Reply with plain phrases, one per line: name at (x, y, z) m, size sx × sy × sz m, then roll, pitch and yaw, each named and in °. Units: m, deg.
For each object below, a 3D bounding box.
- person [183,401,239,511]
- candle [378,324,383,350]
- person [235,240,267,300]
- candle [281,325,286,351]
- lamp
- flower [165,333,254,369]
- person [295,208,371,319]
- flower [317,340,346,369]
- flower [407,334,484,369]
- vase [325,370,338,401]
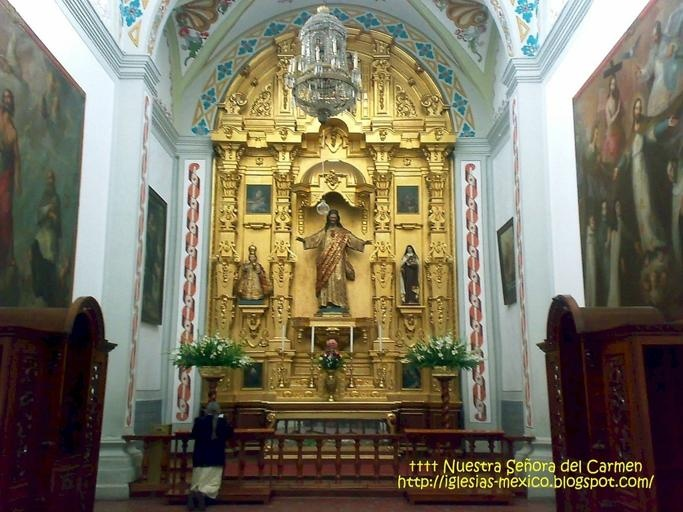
person at (-1.897, 2.884, 9.179) m, size 0.569 × 1.489 × 0.300 m, roll 2°, pitch -17°, yaw -10°
candle at (0.828, 1.712, 13.475) m, size 0.127 × 0.677 × 0.175 m, roll -2°, pitch -16°, yaw 4°
person at (-1.950, 0.442, 13.860) m, size 0.758 × 1.263 × 0.453 m, roll -5°, pitch -24°, yaw -3°
candle at (-1.235, 1.729, 13.480) m, size 0.095 × 0.568 × 0.109 m, roll 6°, pitch -17°, yaw -20°
lamp at (-0.277, -3.007, 9.880) m, size 1.127 × 1.828 × 0.650 m, roll -1°, pitch -16°, yaw 1°
flower at (-2.297, 1.803, 11.745) m, size 1.173 × 0.561 × 1.312 m, roll -5°, pitch -14°, yaw 39°
person at (-0.169, 0.155, 13.817) m, size 1.236 × 2.296 × 0.584 m, roll 0°, pitch -16°, yaw -3°
flower at (-0.201, 2.002, 12.807) m, size 0.452 × 0.681 × 0.857 m, roll 0°, pitch -16°, yaw 0°
flower at (1.812, 1.807, 11.600) m, size 1.111 × 0.516 × 1.119 m, roll -2°, pitch 4°, yaw -19°
vase at (-0.208, 2.550, 12.417) m, size 0.263 × 0.594 × 0.196 m, roll 0°, pitch -16°, yaw -2°
